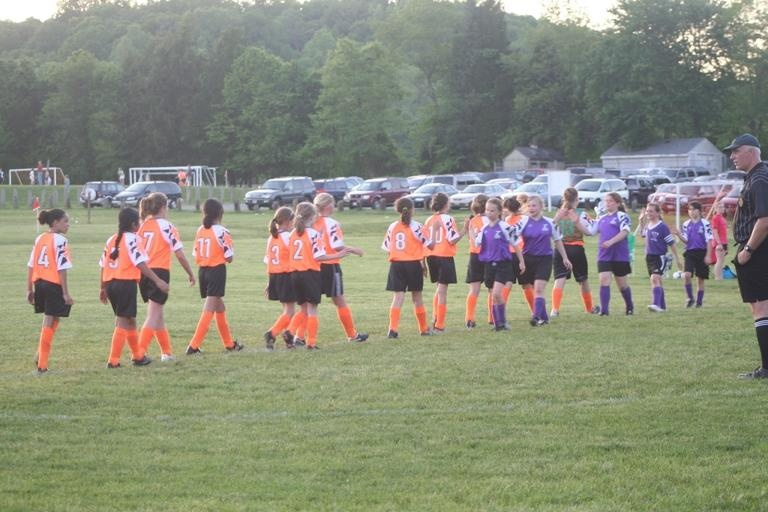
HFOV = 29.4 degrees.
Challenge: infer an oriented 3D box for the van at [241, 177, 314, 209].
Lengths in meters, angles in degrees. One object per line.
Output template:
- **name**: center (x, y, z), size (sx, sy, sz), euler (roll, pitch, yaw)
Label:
- **van**: center (-9.332, -5.683, 133.452), size (3.680, 2.645, 6.812), euler (7, 10, 37)
